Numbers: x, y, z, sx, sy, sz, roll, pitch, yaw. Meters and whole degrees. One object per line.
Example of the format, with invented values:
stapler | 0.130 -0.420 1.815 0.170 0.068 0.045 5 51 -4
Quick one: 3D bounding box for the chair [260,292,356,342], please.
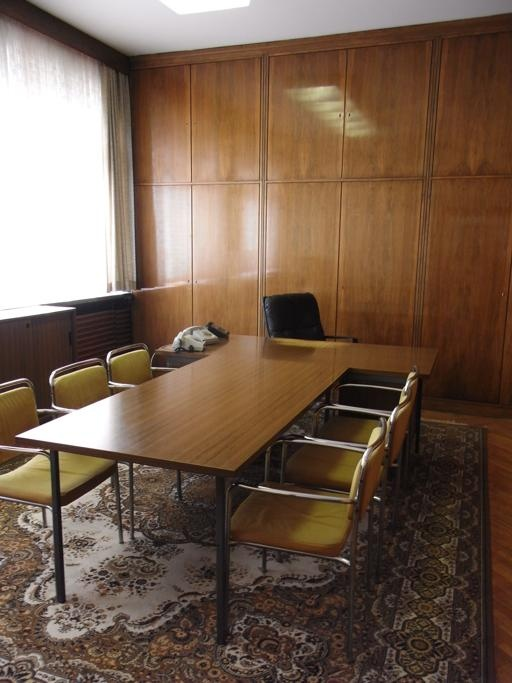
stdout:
chair | 0.381 -0.193 4.509 0.460 0.693 0.541 -7 8 -30
